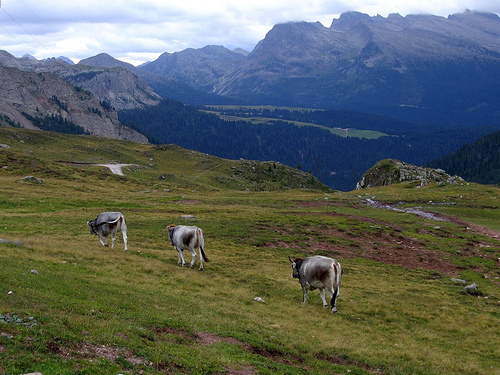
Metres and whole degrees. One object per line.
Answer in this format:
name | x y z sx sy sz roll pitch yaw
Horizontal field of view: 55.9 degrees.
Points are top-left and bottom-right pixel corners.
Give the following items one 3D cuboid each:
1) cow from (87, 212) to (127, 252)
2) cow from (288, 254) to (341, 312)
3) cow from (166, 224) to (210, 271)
cow | -17.697 4.826 56.518 7.789 5.064 2.648 -3 -4 44
cow | 6.834 9.802 48.426 4.334 5.861 4.565 1 5 -2
cow | -6.615 6.189 53.429 4.057 5.514 4.111 0 6 -33
